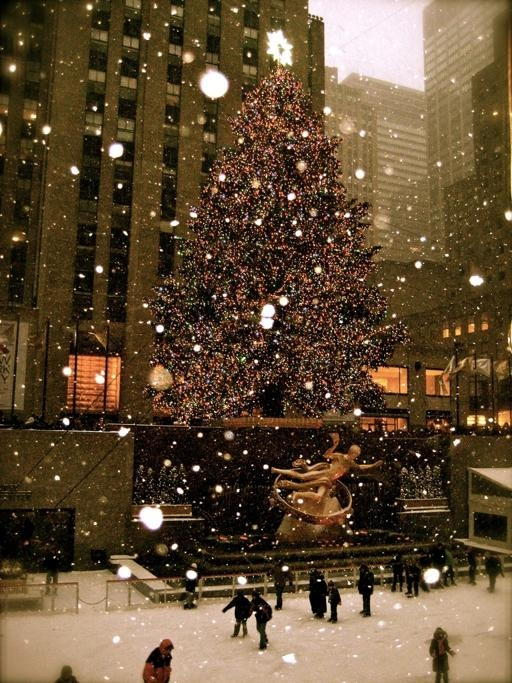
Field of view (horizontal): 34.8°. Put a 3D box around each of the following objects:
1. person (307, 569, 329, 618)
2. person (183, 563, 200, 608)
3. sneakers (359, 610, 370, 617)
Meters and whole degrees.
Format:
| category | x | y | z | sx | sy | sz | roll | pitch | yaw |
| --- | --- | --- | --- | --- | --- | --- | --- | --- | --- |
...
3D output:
| category | x | y | z | sx | sy | sz | roll | pitch | yaw |
| --- | --- | --- | --- | --- | --- | --- | --- | --- | --- |
| person | 1.390 | 5.547 | 17.917 | 0.381 | 0.930 | 0.606 | 0 | -5 | 5 |
| person | -1.503 | 5.687 | 18.982 | 0.356 | 0.865 | 1.141 | 1 | -5 | -5 |
| sneakers | 2.427 | 6.001 | 17.992 | 0.241 | 0.153 | 0.080 | -4 | -5 | 14 |
